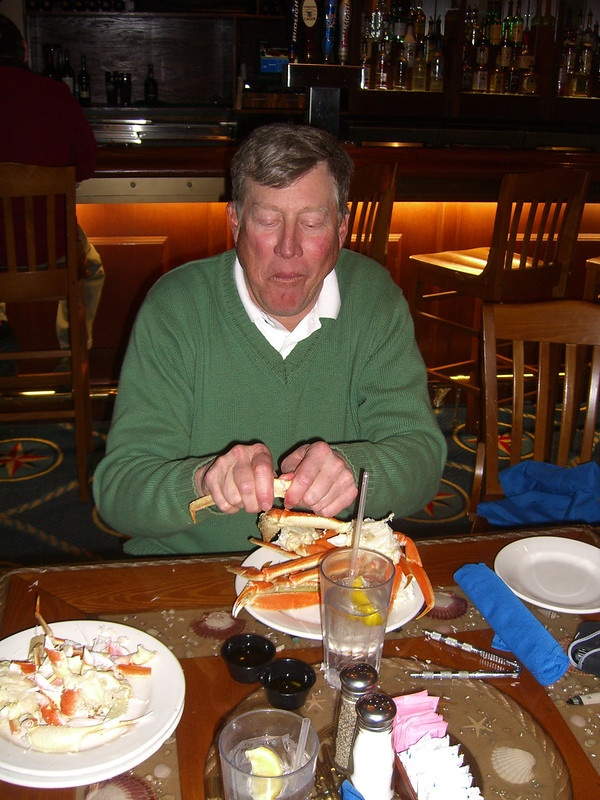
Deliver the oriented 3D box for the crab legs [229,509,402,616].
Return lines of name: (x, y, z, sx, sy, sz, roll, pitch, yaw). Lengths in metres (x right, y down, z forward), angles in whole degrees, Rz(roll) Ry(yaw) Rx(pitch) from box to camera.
crab legs: (0.023, 0.225, 0.850, 0.167, 0.051, 0.143, -5, 21, 11)

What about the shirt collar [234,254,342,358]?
shirt collar: (-0.006, -0.171, 1.230, 0.176, 0.222, 0.062, -2, 12, -10)

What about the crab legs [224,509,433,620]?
crab legs: (0.046, 0.221, 0.856, 0.183, 0.051, 0.173, -5, 19, 5)
